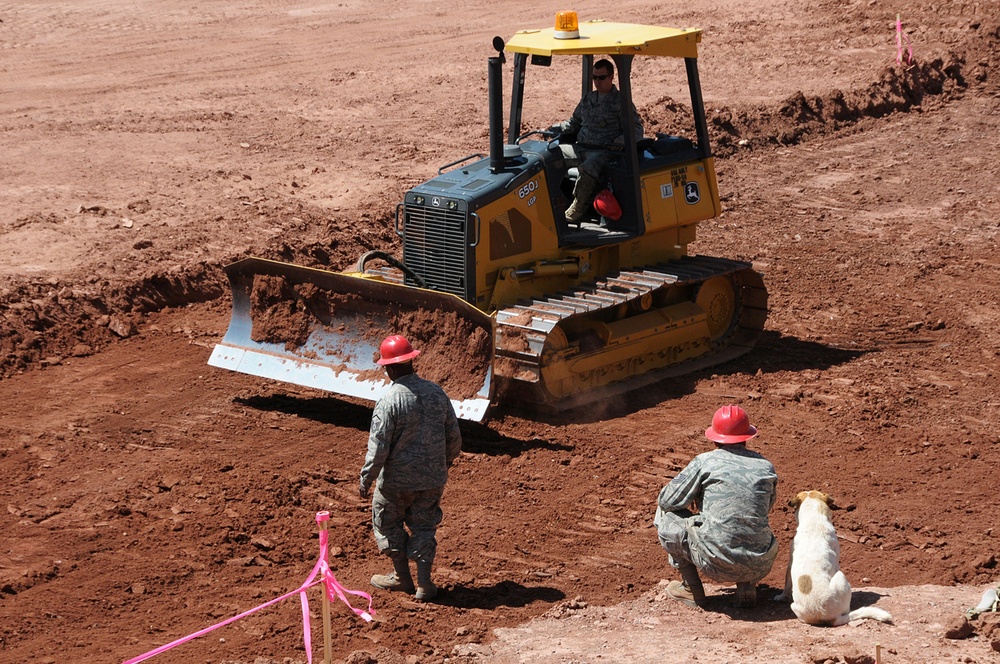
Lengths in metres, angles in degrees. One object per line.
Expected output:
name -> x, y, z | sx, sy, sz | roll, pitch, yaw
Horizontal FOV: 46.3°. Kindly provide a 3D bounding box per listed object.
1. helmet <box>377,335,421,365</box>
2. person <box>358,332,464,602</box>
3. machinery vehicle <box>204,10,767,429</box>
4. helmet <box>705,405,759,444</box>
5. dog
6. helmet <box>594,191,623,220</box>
helmet -> -1.018, 0.205, 11.395 | 0.446, 0.178, 0.426 | -15, 14, -17
person -> -0.904, 1.337, 11.294 | 0.863, 2.530, 1.138 | 0, 27, 15
machinery vehicle -> 0.118, -1.398, 14.756 | 4.000, 2.872, 5.729 | 25, 40, 38
helmet -> 2.178, 0.851, 11.026 | 0.468, 0.192, 0.457 | 3, 18, 18
dog -> 2.922, 2.053, 10.751 | 1.023, 0.788, 1.165 | -7, 33, 7
helmet -> 1.338, -1.568, 14.731 | 0.404, 0.282, 0.152 | 41, 34, 11
